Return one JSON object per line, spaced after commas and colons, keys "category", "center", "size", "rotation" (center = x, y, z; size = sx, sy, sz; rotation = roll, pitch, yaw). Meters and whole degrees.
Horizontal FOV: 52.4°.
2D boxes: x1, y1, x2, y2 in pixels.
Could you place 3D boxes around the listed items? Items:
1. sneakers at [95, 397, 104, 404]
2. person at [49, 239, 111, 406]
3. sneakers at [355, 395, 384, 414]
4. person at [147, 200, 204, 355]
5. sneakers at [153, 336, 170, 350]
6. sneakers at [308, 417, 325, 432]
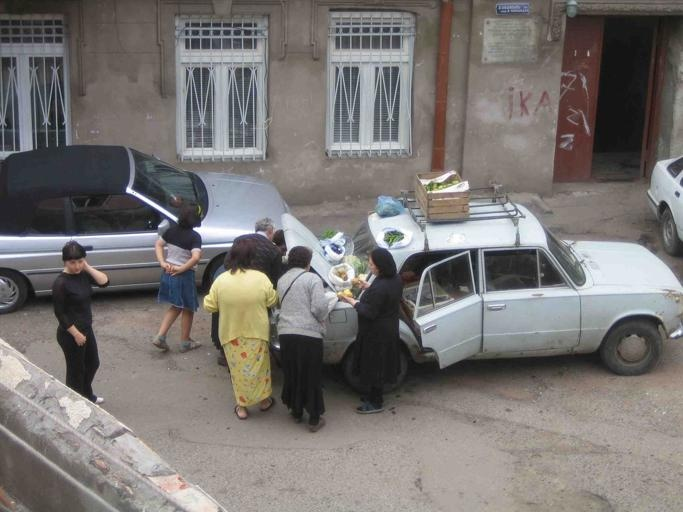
{"category": "sneakers", "center": [-2.549, 1.536, 7.386], "size": [0.044, 0.040, 0.110], "rotation": [-41, -15, 21]}
{"category": "person", "center": [-2.552, 0.739, 6.929], "size": [0.414, 1.820, 0.542], "rotation": [5, 16, 27]}
{"category": "sneakers", "center": [0.321, 1.559, 7.318], "size": [0.335, 0.155, 0.132], "rotation": [1, 16, -4]}
{"category": "person", "center": [-1.936, 0.288, 8.269], "size": [0.646, 1.777, 0.455], "rotation": [-4, 14, -9]}
{"category": "sneakers", "center": [-2.127, 1.047, 8.390], "size": [0.093, 0.125, 0.283], "rotation": [26, 1, 5]}
{"category": "sneakers", "center": [-0.237, 1.690, 7.049], "size": [0.077, 0.098, 0.226], "rotation": [3, 22, 15]}
